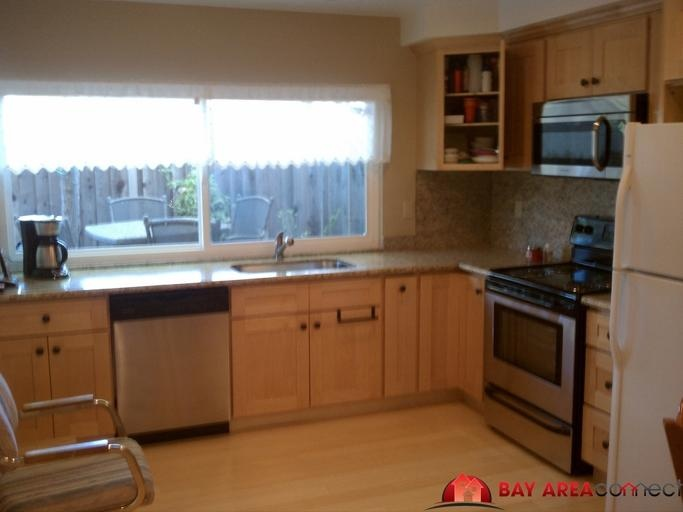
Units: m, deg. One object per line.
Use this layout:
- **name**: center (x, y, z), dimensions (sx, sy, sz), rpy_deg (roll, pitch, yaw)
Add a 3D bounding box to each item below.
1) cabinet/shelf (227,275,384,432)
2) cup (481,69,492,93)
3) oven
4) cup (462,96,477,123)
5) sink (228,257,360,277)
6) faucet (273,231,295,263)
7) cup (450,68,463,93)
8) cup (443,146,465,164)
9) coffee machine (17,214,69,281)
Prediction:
- **cabinet/shelf**: center (-0.283, 0.626, 3.933), dimensions (0.931, 0.844, 0.462), rpy_deg (-2, 4, -22)
- **cup**: center (1.047, -1.256, 4.195), dimensions (0.083, 0.156, 0.082), rpy_deg (0, 13, 0)
- **oven**: center (1.343, 0.679, 3.694), dimensions (0.538, 1.087, 0.793), rpy_deg (-7, 10, -24)
- **cup**: center (0.956, -1.080, 4.305), dimensions (0.101, 0.181, 0.106), rpy_deg (0, 13, 0)
- **sink**: center (-0.357, 0.078, 4.281), dimensions (0.875, 0.101, 0.348), rpy_deg (-2, 14, -6)
- **faucet**: center (-0.431, -0.089, 4.385), dimensions (0.159, 0.215, 0.312), rpy_deg (-1, 14, -4)
- **cup**: center (0.855, -1.292, 4.299), dimensions (0.091, 0.159, 0.050), rpy_deg (3, 13, 12)
- **cup**: center (0.841, -0.769, 4.394), dimensions (0.141, 0.107, 0.095), rpy_deg (1, 6, -15)
- **coffee machine**: center (-1.840, -0.069, 3.774), dimensions (0.392, 0.483, 0.299), rpy_deg (-2, 12, -17)
